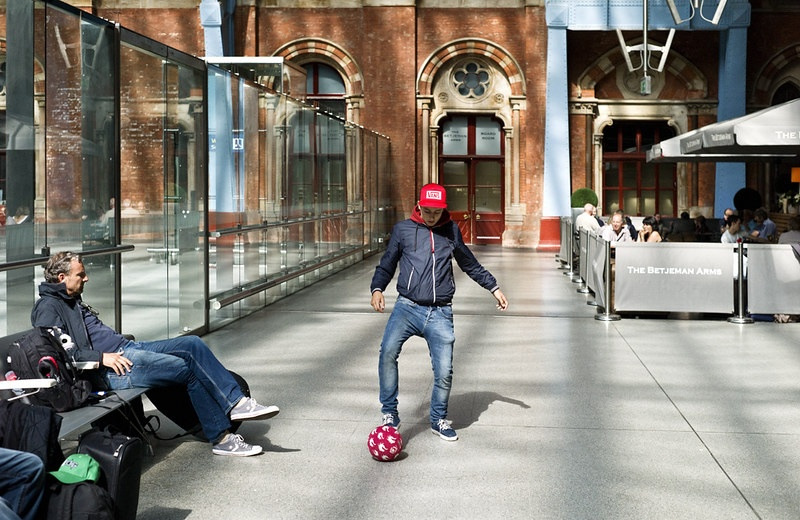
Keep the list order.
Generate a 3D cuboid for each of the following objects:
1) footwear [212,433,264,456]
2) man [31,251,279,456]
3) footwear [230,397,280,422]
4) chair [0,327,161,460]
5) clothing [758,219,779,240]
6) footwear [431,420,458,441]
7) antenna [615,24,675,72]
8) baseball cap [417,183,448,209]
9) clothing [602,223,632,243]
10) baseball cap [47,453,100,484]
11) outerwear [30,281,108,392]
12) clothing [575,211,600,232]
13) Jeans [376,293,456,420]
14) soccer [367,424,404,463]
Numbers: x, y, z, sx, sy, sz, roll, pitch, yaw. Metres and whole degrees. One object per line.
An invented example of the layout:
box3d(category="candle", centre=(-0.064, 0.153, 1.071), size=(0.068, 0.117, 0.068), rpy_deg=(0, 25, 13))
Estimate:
box3d(category="footwear", centre=(-1.397, 1.589, 5.825), size=(0.452, 0.185, 0.172), rpy_deg=(1, -3, -4))
box3d(category="man", centre=(-2.116, 0.803, 5.761), size=(1.840, 1.678, 0.825), rpy_deg=(5, 2, -24))
box3d(category="footwear", centre=(-1.222, 1.242, 5.670), size=(0.465, 0.217, 0.174), rpy_deg=(-4, -4, 2))
box3d(category="chair", centre=(-2.425, 1.003, 5.062), size=(0.440, 0.785, 1.164), rpy_deg=(-1, 2, 2))
box3d(category="clothing", centre=(7.946, -0.668, 14.553), size=(0.341, 0.565, 0.606), rpy_deg=(10, 8, 39))
box3d(category="footwear", centre=(0.409, 1.536, 6.085), size=(0.115, 0.136, 0.310), rpy_deg=(-4, 0, -29))
box3d(category="antenna", centre=(8.488, -7.388, 23.124), size=(2.473, 1.884, 0.340), rpy_deg=(1, 17, 16))
box3d(category="baseball cap", centre=(0.299, -0.579, 6.091), size=(0.190, 0.156, 0.287), rpy_deg=(4, 8, 1))
box3d(category="clothing", centre=(4.231, -0.503, 13.185), size=(0.539, 0.313, 0.710), rpy_deg=(2, 1, 14))
box3d(category="baseball cap", centre=(-2.128, 1.370, 4.409), size=(0.244, 0.142, 0.169), rpy_deg=(15, -17, -35))
box3d(category="outerwear", centre=(-2.648, 0.630, 5.357), size=(0.358, 0.921, 0.689), rpy_deg=(-23, -7, -2))
box3d(category="clothing", centre=(4.538, -0.927, 16.288), size=(0.679, 0.575, 0.373), rpy_deg=(15, 31, 39))
box3d(category="Jeans", centre=(0.151, 0.925, 6.049), size=(0.643, 1.189, 0.514), rpy_deg=(0, 7, 2))
box3d(category="soccer", centre=(-0.105, 1.543, 5.679), size=(0.274, 0.282, 0.155), rpy_deg=(17, 9, 21))
